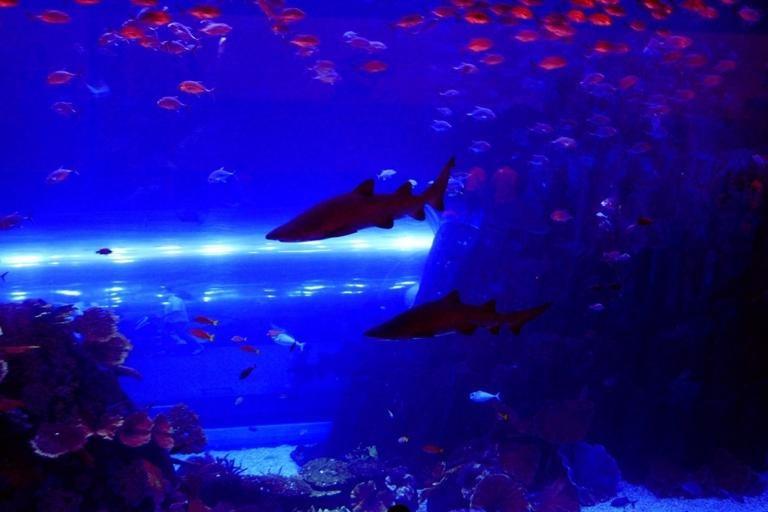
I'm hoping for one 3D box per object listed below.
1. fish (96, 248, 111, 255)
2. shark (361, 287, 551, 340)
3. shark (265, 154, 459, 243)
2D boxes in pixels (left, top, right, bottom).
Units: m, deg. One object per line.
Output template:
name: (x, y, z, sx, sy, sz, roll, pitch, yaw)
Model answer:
fish: (-7.536, -0.100, 17.130, 0.272, 0.069, 0.251, -1, 5, -1)
shark: (1.221, 1.053, 11.600, 2.953, 0.869, 0.218, 1, 1, -2)
shark: (-0.457, -0.872, 11.498, 3.500, 0.972, 0.536, -9, -6, 11)
